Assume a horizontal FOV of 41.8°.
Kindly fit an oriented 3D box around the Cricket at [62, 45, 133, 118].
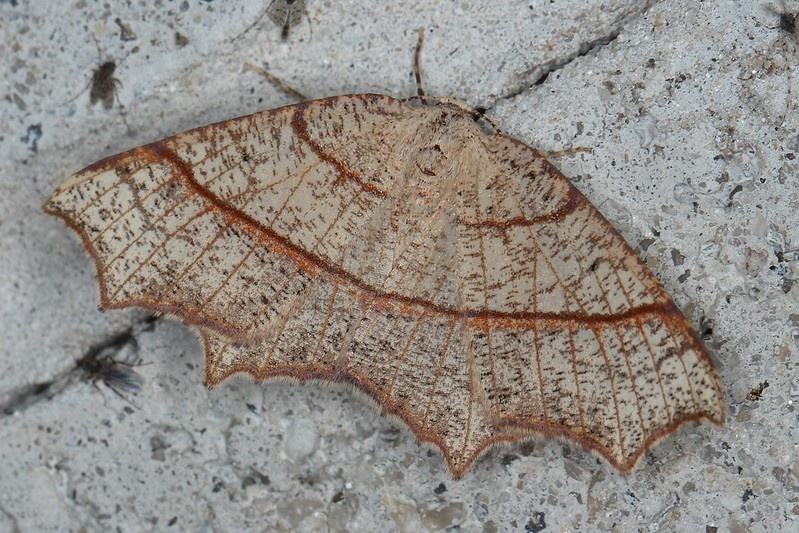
[{"bbox_3d":[-1.990,-1.252,7.045,0.344,0.112,0.416,20,102,-5],"label":"Cricket"}]
